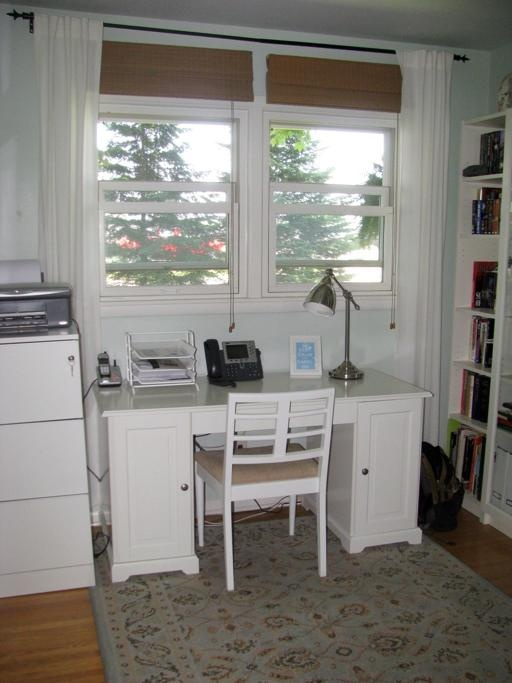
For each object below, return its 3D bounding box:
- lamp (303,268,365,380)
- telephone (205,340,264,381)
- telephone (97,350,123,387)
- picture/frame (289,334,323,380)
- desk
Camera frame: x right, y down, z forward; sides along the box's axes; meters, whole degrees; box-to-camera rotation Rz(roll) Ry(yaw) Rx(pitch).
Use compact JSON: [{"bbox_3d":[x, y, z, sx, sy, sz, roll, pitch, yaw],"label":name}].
[{"bbox_3d":[0.388,-0.082,2.729,0.256,0.523,0.611,1,6,11],"label":"lamp"},{"bbox_3d":[-0.101,0.085,2.591,0.247,0.191,0.131,-3,6,-15],"label":"telephone"},{"bbox_3d":[-0.646,0.131,2.466,0.095,0.106,0.168,-1,11,-16],"label":"telephone"},{"bbox_3d":[0.237,0.077,2.694,0.221,0.271,0.028,-1,2,-8],"label":"picture/frame"},{"bbox_3d":[0.021,0.580,2.537,1.373,0.667,0.483,-1,0,-19],"label":"desk"}]
